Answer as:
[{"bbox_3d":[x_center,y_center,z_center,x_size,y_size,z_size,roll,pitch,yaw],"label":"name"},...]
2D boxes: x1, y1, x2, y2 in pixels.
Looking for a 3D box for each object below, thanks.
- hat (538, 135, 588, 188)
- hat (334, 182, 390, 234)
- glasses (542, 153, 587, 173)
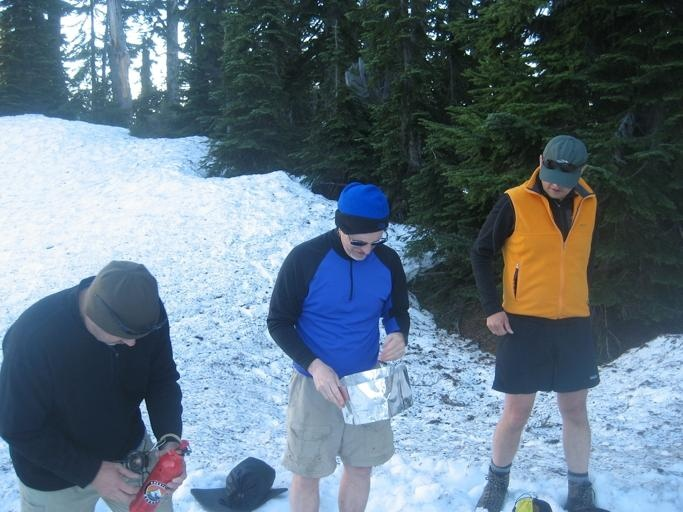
[{"bbox_3d":[2.199,-0.864,6.663,0.365,0.549,0.321,16,-20,12],"label":"hat"},{"bbox_3d":[0.217,-0.497,6.387,0.555,0.447,0.561,-12,22,-35],"label":"hat"},{"bbox_3d":[2.186,-0.899,6.594,0.403,0.153,0.101,5,9,14],"label":"glasses"}]
